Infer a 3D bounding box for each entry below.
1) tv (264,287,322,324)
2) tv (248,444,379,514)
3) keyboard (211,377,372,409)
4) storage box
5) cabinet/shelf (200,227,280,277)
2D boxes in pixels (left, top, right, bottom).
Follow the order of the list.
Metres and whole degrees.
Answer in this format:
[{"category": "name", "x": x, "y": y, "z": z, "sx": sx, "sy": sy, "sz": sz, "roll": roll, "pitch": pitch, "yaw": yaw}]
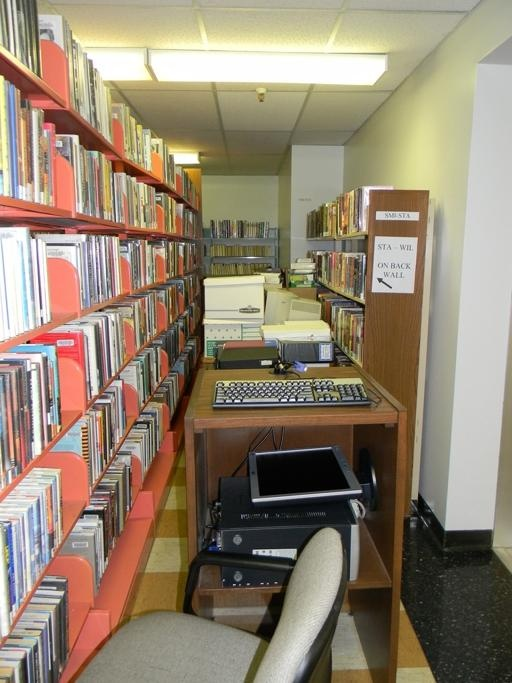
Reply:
[{"category": "tv", "x": 0.264, "y": -0.262, "z": 3.924, "sx": 0.344, "sy": 0.350, "sz": 0.193, "roll": 7, "pitch": 8, "yaw": 36}, {"category": "tv", "x": 0.126, "y": 0.391, "z": 1.499, "sx": 0.237, "sy": 0.123, "sz": 0.244, "roll": -2, "pitch": 11, "yaw": -2}, {"category": "keyboard", "x": 0.104, "y": 0.157, "z": 1.592, "sx": 0.459, "sy": 0.067, "sz": 0.238, "roll": 3, "pitch": 8, "yaw": -3}, {"category": "storage box", "x": -0.136, "y": -0.177, "z": 3.920, "sx": 0.536, "sy": 0.760, "sz": 0.537, "roll": -1, "pitch": 4, "yaw": -2}, {"category": "cabinet/shelf", "x": -0.251, "y": -1.291, "z": 7.449, "sx": 1.152, "sy": 1.144, "sz": 0.467, "roll": -1, "pitch": 7, "yaw": -3}]
